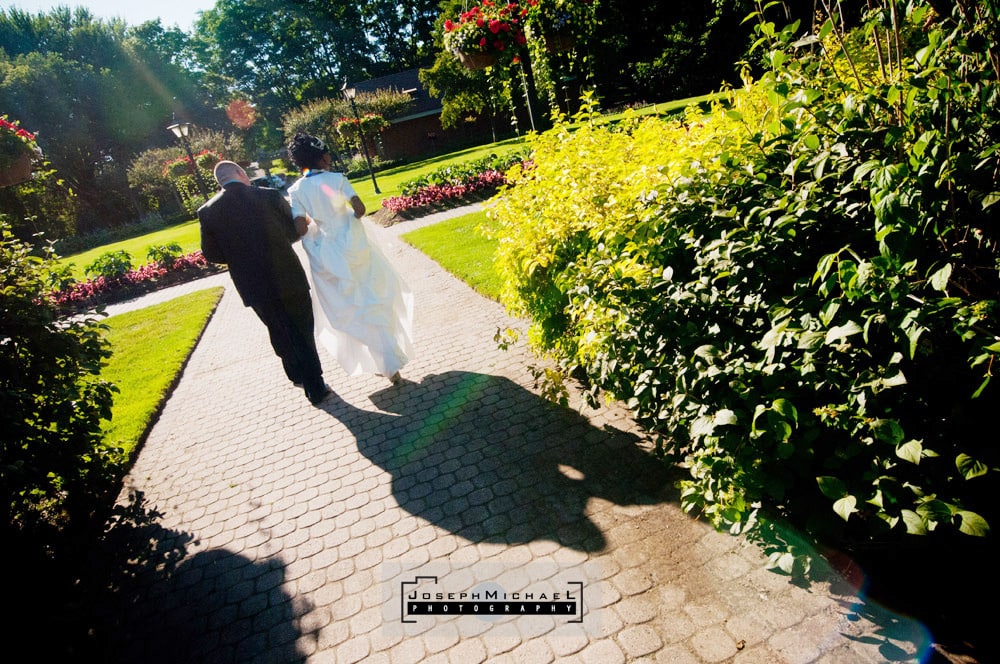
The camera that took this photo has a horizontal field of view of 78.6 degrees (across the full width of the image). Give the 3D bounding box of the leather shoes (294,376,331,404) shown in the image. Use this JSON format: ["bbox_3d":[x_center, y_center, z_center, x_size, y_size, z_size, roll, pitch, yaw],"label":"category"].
[{"bbox_3d":[-1.941,0.618,6.396,0.194,0.197,0.473,-2,24,-9],"label":"leather shoes"}]

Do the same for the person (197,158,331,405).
[{"bbox_3d":[-2.282,-0.464,6.197,0.655,2.514,0.689,4,30,33],"label":"person"}]
